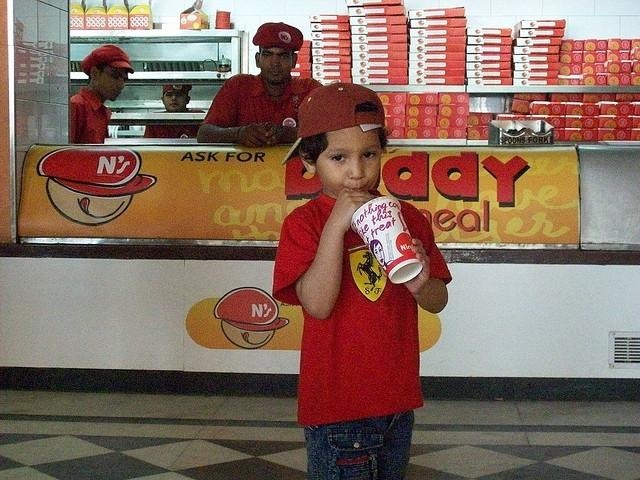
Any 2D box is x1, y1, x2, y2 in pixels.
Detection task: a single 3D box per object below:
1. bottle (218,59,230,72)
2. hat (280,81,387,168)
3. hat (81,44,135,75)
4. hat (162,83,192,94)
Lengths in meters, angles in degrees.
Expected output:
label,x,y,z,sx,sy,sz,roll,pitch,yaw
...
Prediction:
label,x,y,z,sx,sy,sz,roll,pitch,yaw
bottle,-0.900,-1.625,6.447,0.121,0.109,0.117,0,3,-17
hat,0.058,-0.364,1.996,0.215,0.113,0.163,-1,9,39
hat,-1.300,-1.080,4.112,0.243,0.107,0.186,2,8,20
hat,-1.355,-1.425,6.434,0.184,0.115,0.145,9,10,28
